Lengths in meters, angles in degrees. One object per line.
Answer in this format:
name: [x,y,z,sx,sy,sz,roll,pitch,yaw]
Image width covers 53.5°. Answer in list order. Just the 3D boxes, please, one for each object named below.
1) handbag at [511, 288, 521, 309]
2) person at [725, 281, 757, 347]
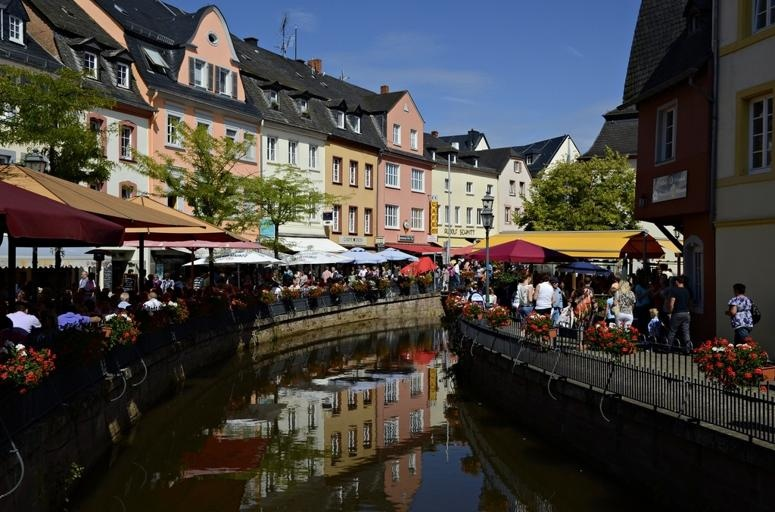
handbag: [4.104,1.409,24.426,0.190,0.551,0.375,4,-5,-11]
person: [8.322,1.400,18.085,0.608,1.458,1.829,4,5,26]
